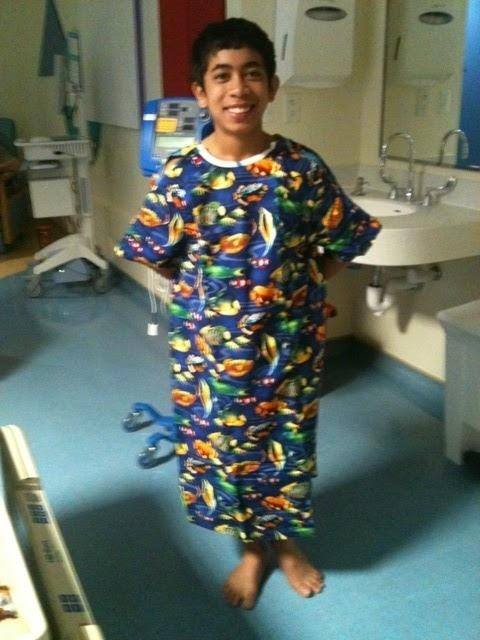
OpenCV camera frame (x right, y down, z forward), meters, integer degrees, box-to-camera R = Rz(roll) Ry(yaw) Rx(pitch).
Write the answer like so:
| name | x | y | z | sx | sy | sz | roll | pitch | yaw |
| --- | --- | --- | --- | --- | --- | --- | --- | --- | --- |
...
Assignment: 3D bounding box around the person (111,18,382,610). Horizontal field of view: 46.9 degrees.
| name | x | y | z | sx | sy | sz | roll | pitch | yaw |
| --- | --- | --- | --- | --- | --- | --- | --- | --- | --- |
| person | 0.017 | 0.004 | 1.089 | 0.491 | 1.053 | 0.189 | -4 | 19 | -13 |
